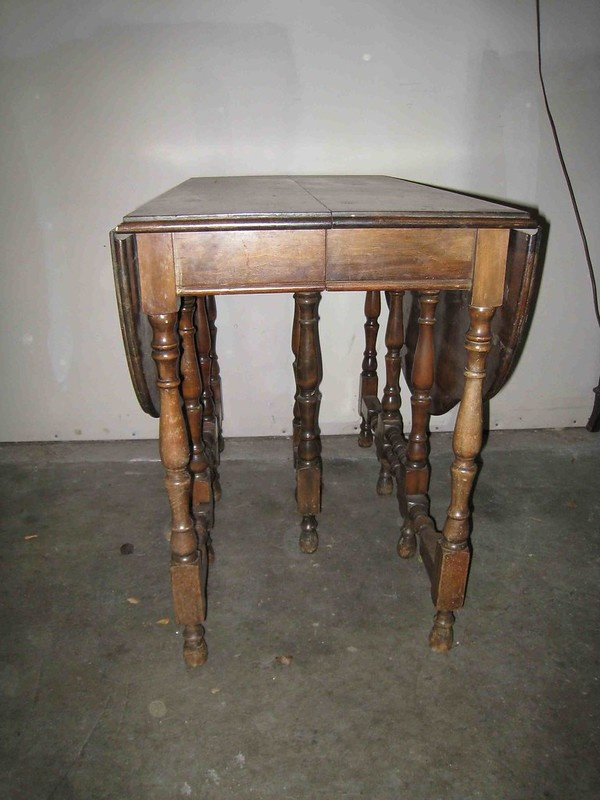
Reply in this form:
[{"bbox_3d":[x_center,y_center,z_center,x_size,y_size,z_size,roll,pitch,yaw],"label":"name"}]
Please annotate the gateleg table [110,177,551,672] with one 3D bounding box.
[{"bbox_3d":[0.041,-0.063,2.403,1.099,0.985,1.581,-2,13,-13],"label":"gateleg table"}]
